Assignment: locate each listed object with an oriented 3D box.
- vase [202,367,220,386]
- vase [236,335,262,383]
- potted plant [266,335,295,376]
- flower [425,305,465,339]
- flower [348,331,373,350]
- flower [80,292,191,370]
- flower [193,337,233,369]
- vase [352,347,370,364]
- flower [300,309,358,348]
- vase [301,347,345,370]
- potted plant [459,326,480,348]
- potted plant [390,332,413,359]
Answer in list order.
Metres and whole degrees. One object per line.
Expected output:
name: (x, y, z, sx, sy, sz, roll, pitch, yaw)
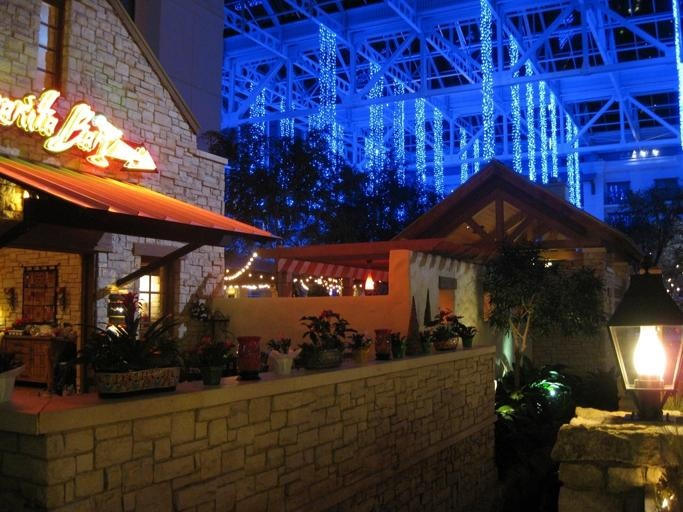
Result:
vase: (-1.772, 1.653, 9.357, 0.271, 0.211, 0.229, 0, -3, -6)
vase: (-1.336, 1.507, 9.923, 0.354, 0.611, 0.490, 3, 10, -9)
potted plant: (-0.910, 1.542, 10.544, 0.485, 0.481, 0.416, 5, 13, 13)
flower: (2.195, 1.442, 14.716, 0.653, 0.476, 0.663, -3, -5, 28)
flower: (0.318, 1.533, 12.120, 0.376, 0.333, 0.366, 11, -13, -39)
flower: (-2.849, 1.027, 9.123, 1.244, 0.998, 1.158, 8, -9, -43)
flower: (-1.818, 1.391, 9.649, 0.514, 0.429, 0.589, -4, -5, 30)
vase: (0.356, 1.743, 11.948, 0.280, 0.210, 0.277, -2, -4, -1)
flower: (-0.286, 1.313, 11.822, 1.034, 0.725, 0.974, 3, -6, -38)
vase: (-0.374, 1.662, 10.956, 0.591, 0.283, 0.328, 5, -9, -44)
potted plant: (2.830, 1.801, 15.071, 0.430, 0.438, 0.445, -7, -10, 37)
potted plant: (1.108, 1.675, 12.770, 0.458, 0.455, 0.439, -4, -10, 18)
